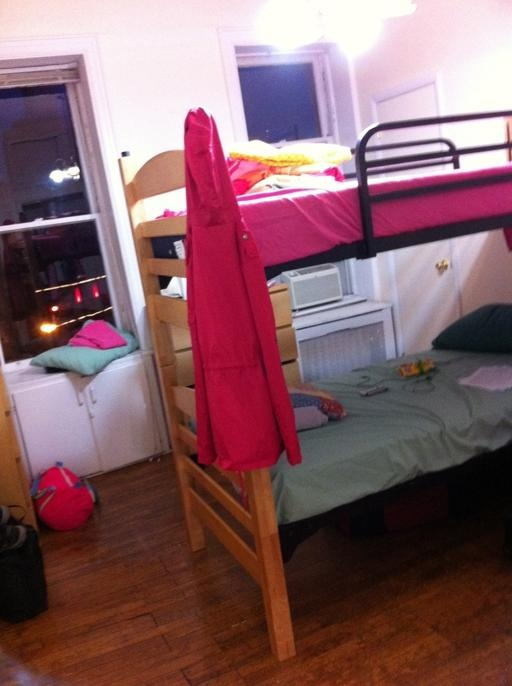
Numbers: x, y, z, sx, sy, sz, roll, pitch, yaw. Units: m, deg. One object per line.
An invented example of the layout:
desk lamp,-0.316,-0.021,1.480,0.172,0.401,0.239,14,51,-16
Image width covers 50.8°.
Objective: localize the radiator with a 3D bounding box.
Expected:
radiator,0.708,0.137,3.887,0.736,0.397,0.490,-18,52,22
